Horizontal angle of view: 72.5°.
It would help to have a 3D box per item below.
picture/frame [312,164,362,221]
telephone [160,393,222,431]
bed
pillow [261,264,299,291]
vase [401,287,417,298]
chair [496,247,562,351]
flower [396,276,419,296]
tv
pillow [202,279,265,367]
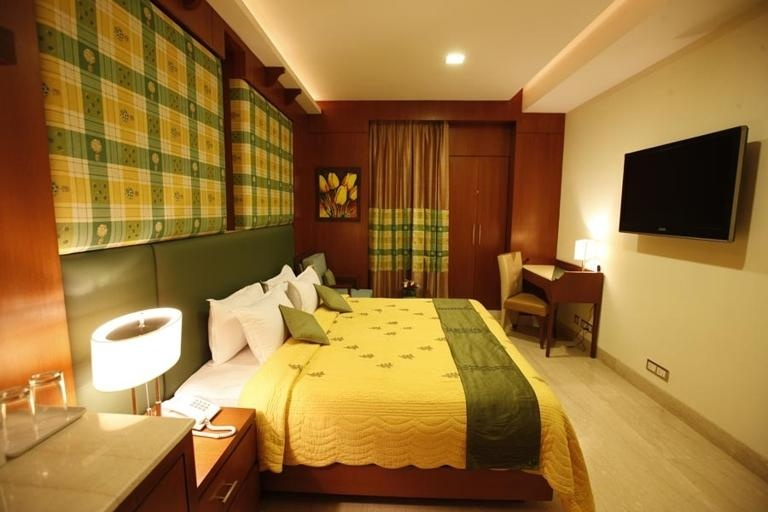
[{"bbox_3d":[-0.587,-0.828,6.541,0.648,0.800,0.032,1,10,0],"label":"picture/frame"},{"bbox_3d":[-1.328,1.041,3.565,0.254,0.098,0.244,7,17,-1],"label":"telephone"},{"bbox_3d":[0.121,1.037,3.892,1.642,0.475,1.753,0,10,0],"label":"bed"},{"bbox_3d":[-0.997,0.213,4.901,0.065,0.212,0.226,-24,6,30],"label":"pillow"},{"bbox_3d":[0.294,0.456,6.463,0.121,0.123,0.123,-1,-5,4],"label":"vase"},{"bbox_3d":[1.662,0.468,6.067,0.689,0.984,0.680,3,10,17],"label":"chair"},{"bbox_3d":[0.286,0.372,6.533,0.194,0.225,0.217,4,-1,6],"label":"flower"},{"bbox_3d":[2.540,-0.596,4.607,0.119,0.868,1.129,6,0,-24],"label":"tv"},{"bbox_3d":[-1.195,0.552,4.074,0.166,0.386,0.558,-13,11,12],"label":"pillow"}]
